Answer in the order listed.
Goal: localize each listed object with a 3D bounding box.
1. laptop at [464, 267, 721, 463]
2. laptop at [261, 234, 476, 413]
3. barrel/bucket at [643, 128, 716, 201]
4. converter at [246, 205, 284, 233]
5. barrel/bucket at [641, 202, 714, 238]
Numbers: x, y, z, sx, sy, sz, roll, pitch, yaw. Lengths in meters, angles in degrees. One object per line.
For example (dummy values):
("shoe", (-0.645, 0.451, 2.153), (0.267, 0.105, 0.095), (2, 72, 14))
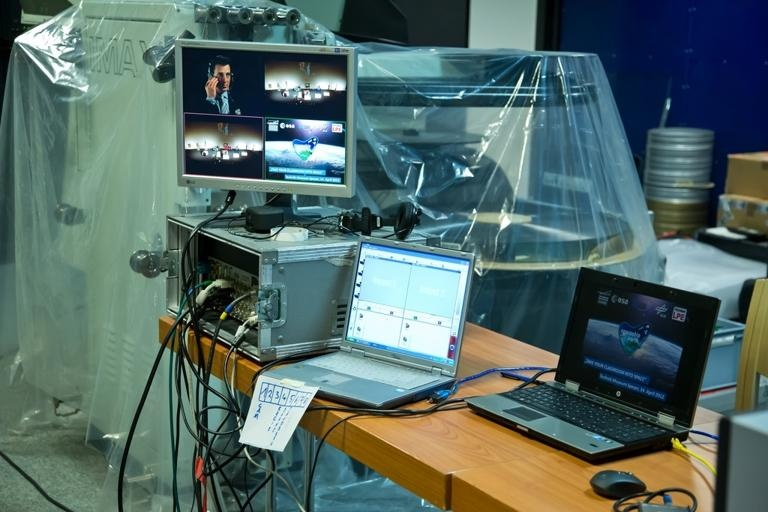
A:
("laptop", (0.549, 0.248, 1.532), (0.481, 0.384, 0.538), (-4, 14, -33))
("laptop", (-0.021, 0.163, 1.707), (0.504, 0.410, 0.491), (12, 13, 40))
("barrel/bucket", (2.085, -0.652, 4.399), (0.521, 0.488, 0.509), (0, 9, 0))
("converter", (-0.362, -0.111, 1.861), (0.092, 0.054, 0.093), (2, 1, 15))
("barrel/bucket", (2.072, -0.294, 4.397), (0.485, 0.330, 0.470), (0, 9, 0))
